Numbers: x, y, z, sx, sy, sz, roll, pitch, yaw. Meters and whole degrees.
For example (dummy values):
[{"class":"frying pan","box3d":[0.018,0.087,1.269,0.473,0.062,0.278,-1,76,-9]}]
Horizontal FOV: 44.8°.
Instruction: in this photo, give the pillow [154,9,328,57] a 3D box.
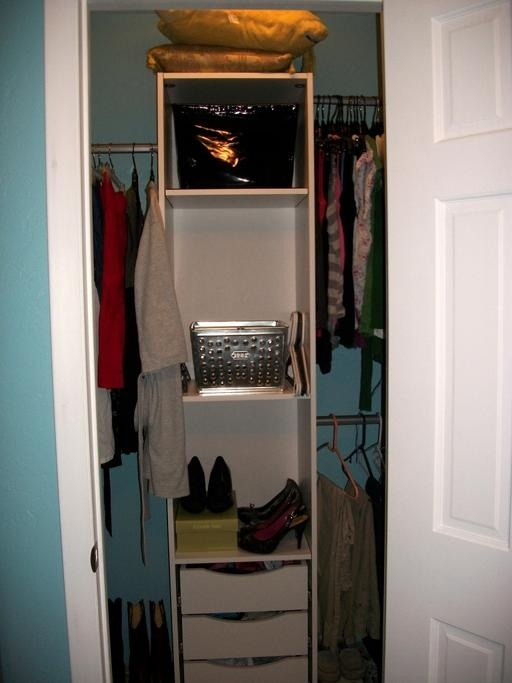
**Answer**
[{"class":"pillow","box3d":[-0.044,-0.794,1.565,0.291,0.123,0.211,4,34,9]}]

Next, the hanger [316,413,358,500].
[{"class":"hanger","box3d":[0.272,0.348,2.070,0.019,0.178,0.219,-10,5,-6]}]

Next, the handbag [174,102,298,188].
[{"class":"handbag","box3d":[-0.057,-0.538,1.714,0.331,0.212,0.120,0,4,3]}]

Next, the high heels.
[{"class":"high heels","box3d":[0.053,0.522,1.835,0.134,0.134,0.180,0,-3,-5]}]

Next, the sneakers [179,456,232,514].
[{"class":"sneakers","box3d":[-0.154,0.431,1.848,0.140,0.121,0.273,-1,0,-3]}]

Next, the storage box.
[{"class":"storage box","box3d":[-0.151,0.546,1.841,0.180,0.101,0.172,-1,5,-9]}]
